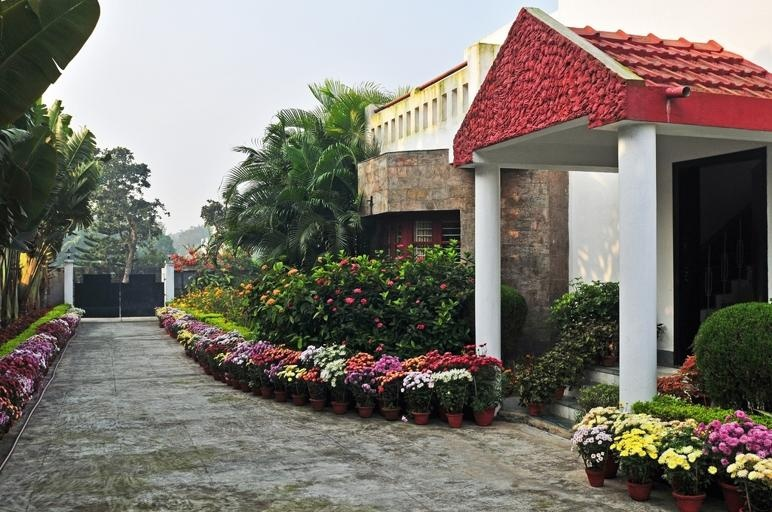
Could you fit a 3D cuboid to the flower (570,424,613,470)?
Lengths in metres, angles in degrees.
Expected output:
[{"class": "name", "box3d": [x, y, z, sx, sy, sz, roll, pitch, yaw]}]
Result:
[{"class": "flower", "box3d": [2.437, 2.188, 7.136, 0.457, 0.569, 0.555, -6, -11, 23]}]

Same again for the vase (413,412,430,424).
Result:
[{"class": "vase", "box3d": [0.543, 2.499, 9.349, 0.192, 0.116, 0.196, -5, -5, 28]}]

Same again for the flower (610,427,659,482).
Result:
[{"class": "flower", "box3d": [2.837, 2.209, 6.762, 0.583, 0.589, 0.565, 0, 1, 40]}]

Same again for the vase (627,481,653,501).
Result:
[{"class": "vase", "box3d": [2.856, 2.616, 6.726, 0.209, 0.146, 0.214, 0, -9, -5]}]

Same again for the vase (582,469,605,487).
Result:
[{"class": "vase", "box3d": [2.465, 2.594, 7.106, 0.192, 0.151, 0.197, -1, -9, -7]}]

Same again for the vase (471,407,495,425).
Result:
[{"class": "vase", "box3d": [1.535, 2.489, 9.304, 0.274, 0.212, 0.280, 0, -8, -10]}]

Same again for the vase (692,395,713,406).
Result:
[{"class": "vase", "box3d": [4.357, 1.985, 8.212, 0.155, 0.116, 0.158, 1, -3, -5]}]

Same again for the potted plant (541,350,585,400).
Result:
[{"class": "potted plant", "box3d": [2.825, 1.884, 9.720, 0.773, 0.806, 0.645, 3, 3, 44]}]

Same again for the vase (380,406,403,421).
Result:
[{"class": "vase", "box3d": [0.081, 2.504, 9.621, 0.327, 0.192, 0.279, -1, 3, 2]}]

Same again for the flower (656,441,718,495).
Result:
[{"class": "flower", "box3d": [3.220, 2.268, 6.402, 0.529, 0.532, 0.537, -2, 5, 21]}]

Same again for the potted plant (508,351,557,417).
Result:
[{"class": "potted plant", "box3d": [2.443, 2.108, 9.884, 0.604, 0.800, 0.841, -1, 3, -3]}]

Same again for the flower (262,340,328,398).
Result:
[{"class": "flower", "box3d": [-1.591, 1.915, 10.583, 0.889, 0.822, 1.146, 4, -15, -5]}]

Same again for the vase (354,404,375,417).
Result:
[{"class": "vase", "box3d": [-0.365, 2.516, 9.773, 0.198, 0.112, 0.198, 4, -8, -37]}]

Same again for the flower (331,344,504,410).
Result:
[{"class": "flower", "box3d": [0.526, 2.014, 9.672, 2.511, 0.831, 0.837, -1, 3, 7]}]

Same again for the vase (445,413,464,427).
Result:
[{"class": "vase", "box3d": [1.053, 2.502, 9.228, 0.207, 0.162, 0.212, 0, -7, -7]}]

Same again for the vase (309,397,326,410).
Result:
[{"class": "vase", "box3d": [-1.172, 2.507, 10.220, 0.199, 0.126, 0.204, -1, -3, -5]}]
